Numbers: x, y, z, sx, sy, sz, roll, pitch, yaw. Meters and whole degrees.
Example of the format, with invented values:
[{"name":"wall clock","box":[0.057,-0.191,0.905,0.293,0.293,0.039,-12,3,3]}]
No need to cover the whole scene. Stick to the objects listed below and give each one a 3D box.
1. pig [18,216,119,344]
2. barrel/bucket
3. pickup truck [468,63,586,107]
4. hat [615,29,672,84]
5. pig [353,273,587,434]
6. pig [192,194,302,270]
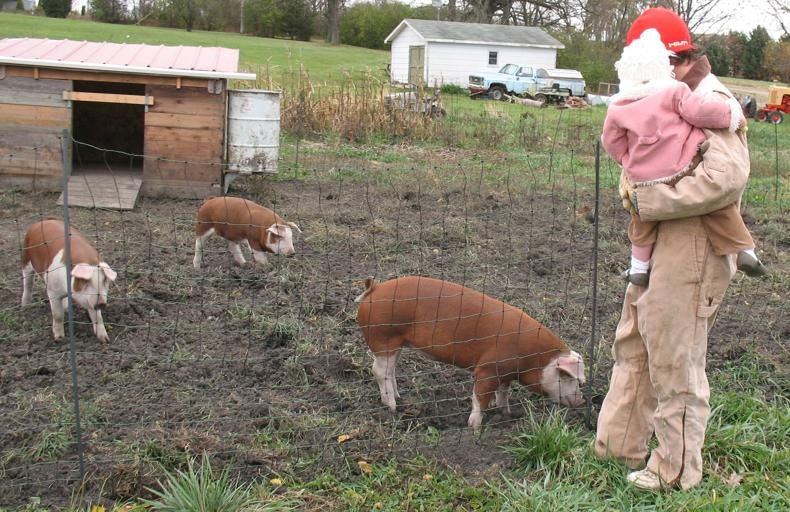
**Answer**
[{"name":"pig","box":[-3.849,0.296,10.799,0.702,1.172,2.198,-2,18,-39]},{"name":"barrel/bucket","box":[-2.316,-2.024,14.926,0.847,1.359,0.302,-1,13,-10]},{"name":"pickup truck","box":[4.803,-6.152,32.748,4.275,1.325,1.804,0,11,-18]},{"name":"hat","box":[2.311,-1.833,8.402,0.515,0.509,0.190,4,13,12]},{"name":"pig","box":[0.761,1.115,9.702,2.415,1.347,0.727,11,24,10]},{"name":"pig","box":[-1.991,-0.318,12.180,1.319,0.923,0.459,0,13,-8]}]
